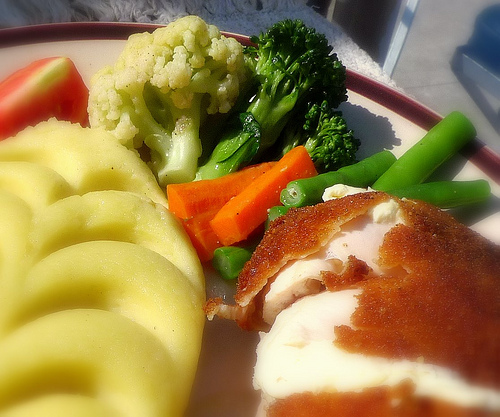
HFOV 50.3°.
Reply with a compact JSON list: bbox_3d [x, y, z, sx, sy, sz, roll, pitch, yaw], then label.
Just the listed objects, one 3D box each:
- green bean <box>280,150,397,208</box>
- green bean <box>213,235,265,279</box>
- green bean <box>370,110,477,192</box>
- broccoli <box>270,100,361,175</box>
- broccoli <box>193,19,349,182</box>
[{"bbox_3d":[0.402,-0.143,2.406,0.642,0.192,0.200,-22,77,-23],"label":"green bean"},{"bbox_3d":[-0.030,0.209,2.288,0.283,0.137,0.122,-15,102,-46],"label":"green bean"},{"bbox_3d":[0.803,-0.249,2.457,0.449,0.120,0.132,-43,121,-4],"label":"green bean"},{"bbox_3d":[0.274,-0.315,2.417,0.261,0.201,0.223,-40,107,-6],"label":"broccoli"},{"bbox_3d":[0.079,-0.525,2.633,0.541,0.730,0.734,-19,41,-24],"label":"broccoli"}]
